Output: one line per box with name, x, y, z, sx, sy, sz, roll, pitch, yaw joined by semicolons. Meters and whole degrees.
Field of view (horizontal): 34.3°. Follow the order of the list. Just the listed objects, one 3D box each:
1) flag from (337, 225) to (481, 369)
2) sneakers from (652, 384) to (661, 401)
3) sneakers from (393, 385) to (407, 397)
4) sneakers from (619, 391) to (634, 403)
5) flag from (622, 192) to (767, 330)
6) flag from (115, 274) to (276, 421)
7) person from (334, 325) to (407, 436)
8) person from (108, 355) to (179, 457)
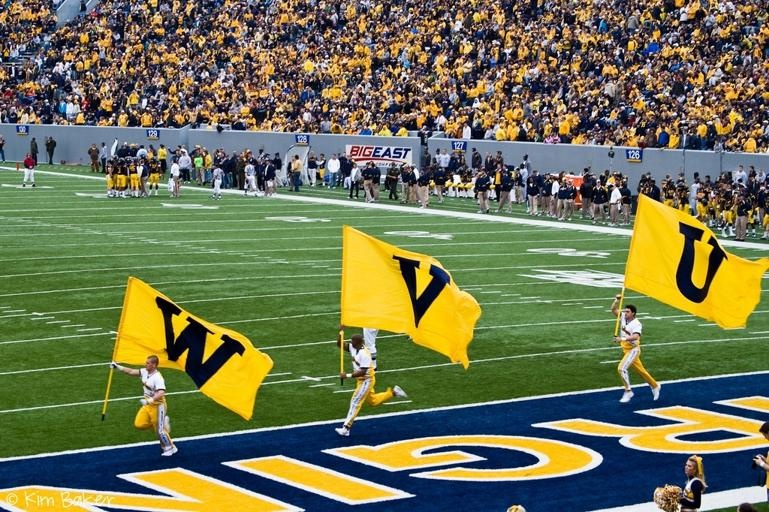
flag;0.528;0.962;26.363;3.290;2.512;0.627;9;-17;-8
sneakers;5.400;2.710;24.681;0.160;0.340;0.124;-5;23;-3
sneakers;0.300;2.571;23.466;0.175;0.160;0.390;17;-5;26
sneakers;4.785;2.789;24.607;0.241;0.225;0.376;-1;2;9
flag;7.479;0.139;29.563;3.697;2.421;0.529;18;-10;-9
flag;-3.735;1.900;24.516;2.661;1.795;0.595;17;-12;0
person;-0.301;2.364;23.326;1.083;1.883;1.549;-1;2;10
person;-4.163;2.645;22.036;0.934;1.790;0.737;-1;1;-10
